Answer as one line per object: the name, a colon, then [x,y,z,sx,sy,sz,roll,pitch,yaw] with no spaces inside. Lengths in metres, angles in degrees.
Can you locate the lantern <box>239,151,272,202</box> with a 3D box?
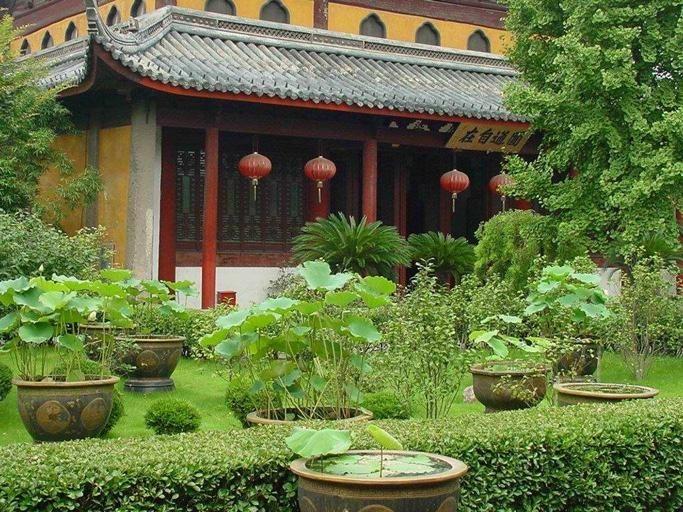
lantern: [-1.395,-1.287,14.288,0.516,0.779,0.519,2,4,31]

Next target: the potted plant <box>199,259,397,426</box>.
potted plant: [-0.424,0.856,8.266,1.468,1.245,1.575,8,-13,-42]

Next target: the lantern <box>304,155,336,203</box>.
lantern: [-0.373,-1.270,14.730,0.434,0.704,0.459,0,0,-11]

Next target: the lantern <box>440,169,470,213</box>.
lantern: [2.043,-1.203,16.083,0.707,0.770,0.735,6,4,27]
